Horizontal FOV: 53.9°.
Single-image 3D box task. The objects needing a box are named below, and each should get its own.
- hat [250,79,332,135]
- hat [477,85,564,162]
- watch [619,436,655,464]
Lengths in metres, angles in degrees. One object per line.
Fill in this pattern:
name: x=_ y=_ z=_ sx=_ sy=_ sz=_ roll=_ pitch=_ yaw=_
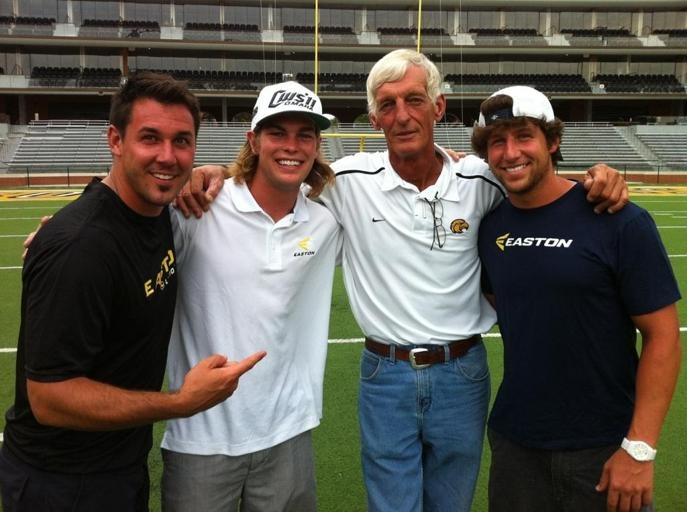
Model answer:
hat: x=-0.202 y=-0.793 z=3.646 sx=0.368 sy=0.281 sz=0.585 roll=-2 pitch=9 yaw=-34
hat: x=0.857 y=-0.731 z=3.383 sx=0.313 sy=0.242 sz=0.454 roll=-8 pitch=-24 yaw=28
watch: x=1.375 y=0.899 z=3.140 sx=0.102 sy=0.058 sz=0.109 roll=20 pitch=-7 yaw=29
